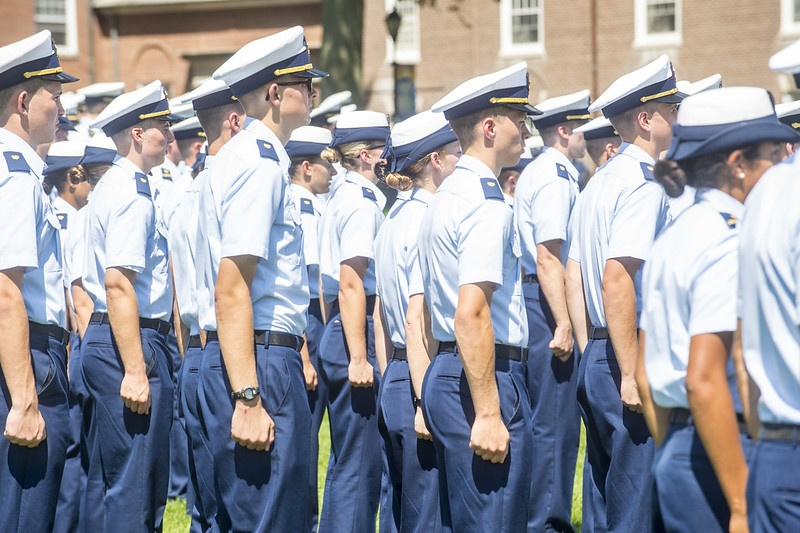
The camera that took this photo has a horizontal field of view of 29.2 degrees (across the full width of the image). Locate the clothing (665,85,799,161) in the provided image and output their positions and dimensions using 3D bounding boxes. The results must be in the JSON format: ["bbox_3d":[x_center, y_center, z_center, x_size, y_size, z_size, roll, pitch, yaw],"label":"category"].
[{"bbox_3d":[2.401,-1.060,11.287,0.669,0.345,0.584,-11,2,-2],"label":"clothing"}]

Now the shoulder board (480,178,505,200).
[{"bbox_3d":[0.730,-0.602,12.095,0.188,0.191,0.141,0,-3,-12],"label":"shoulder board"}]

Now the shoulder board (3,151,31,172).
[{"bbox_3d":[-3.068,-0.832,12.249,0.188,0.203,0.027,-6,-36,-38],"label":"shoulder board"}]

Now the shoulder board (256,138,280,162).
[{"bbox_3d":[-1.050,-0.911,12.138,0.167,0.171,0.044,9,-37,-32],"label":"shoulder board"}]
